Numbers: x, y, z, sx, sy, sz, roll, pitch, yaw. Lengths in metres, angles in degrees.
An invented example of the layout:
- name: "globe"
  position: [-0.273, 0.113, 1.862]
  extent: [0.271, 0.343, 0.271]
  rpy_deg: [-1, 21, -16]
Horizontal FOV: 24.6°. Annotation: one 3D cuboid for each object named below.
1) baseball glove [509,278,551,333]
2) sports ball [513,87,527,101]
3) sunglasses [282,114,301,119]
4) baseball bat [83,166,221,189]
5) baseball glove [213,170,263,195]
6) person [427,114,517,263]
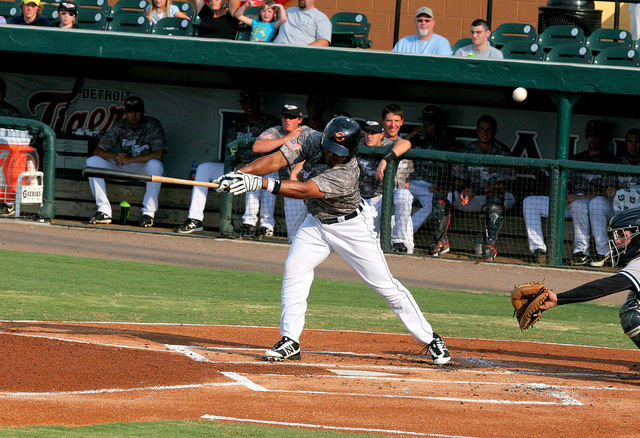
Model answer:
- name: "baseball glove"
  position: [2.215, 0.899, 15.526]
  extent: [0.414, 0.166, 0.516]
  rpy_deg: [-7, 38, 18]
- name: "sports ball"
  position: [2.567, -1.593, 18.979]
  extent: [0.106, 0.158, 0.156]
  rpy_deg: [20, 26, -46]
- name: "sunglasses"
  position: [-0.375, -1.275, 18.548]
  extent: [0.176, 0.040, 0.068]
  rpy_deg: [3, 1, 0]
- name: "baseball bat"
  position: [-2.153, -0.513, 18.610]
  extent: [1.916, 0.161, 0.175]
  rpy_deg: [7, 10, -6]
- name: "baseball glove"
  position: [-0.847, -0.371, 15.582]
  extent: [0.435, 0.226, 0.158]
  rpy_deg: [-11, -12, 0]
- name: "person"
  position: [1.994, -0.376, 19.507]
  extent: [1.186, 1.860, 0.846]
  rpy_deg: [2, -6, -4]
